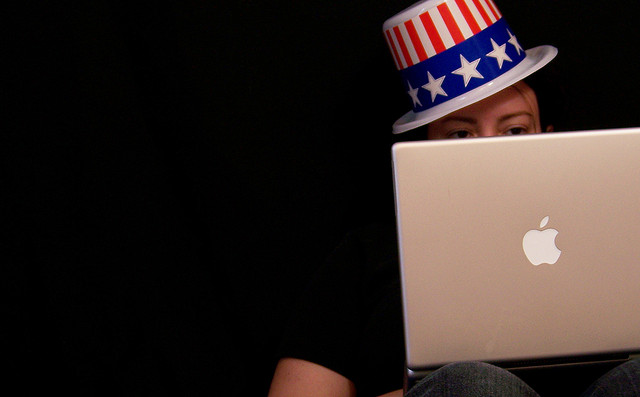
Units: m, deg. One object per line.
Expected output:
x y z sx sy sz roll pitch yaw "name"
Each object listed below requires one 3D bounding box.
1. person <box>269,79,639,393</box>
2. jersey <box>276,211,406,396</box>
0.594 0.190 2.375 1.741 1.576 0.510 0 -1 0 "person"
0.098 0.507 2.553 0.619 0.793 0.419 11 -33 -7 "jersey"
